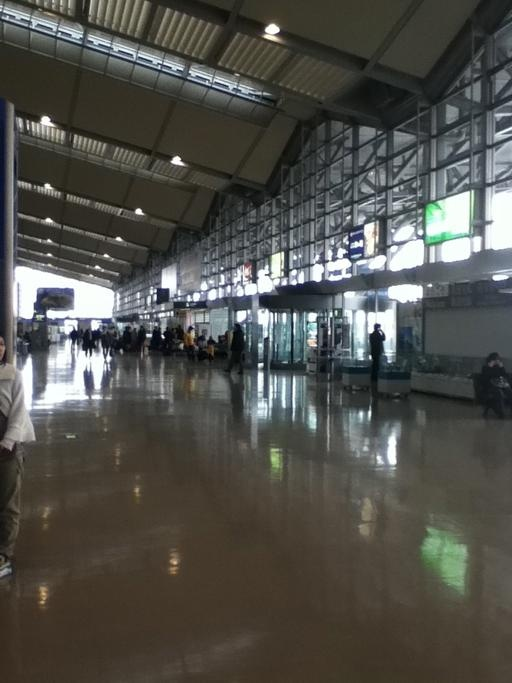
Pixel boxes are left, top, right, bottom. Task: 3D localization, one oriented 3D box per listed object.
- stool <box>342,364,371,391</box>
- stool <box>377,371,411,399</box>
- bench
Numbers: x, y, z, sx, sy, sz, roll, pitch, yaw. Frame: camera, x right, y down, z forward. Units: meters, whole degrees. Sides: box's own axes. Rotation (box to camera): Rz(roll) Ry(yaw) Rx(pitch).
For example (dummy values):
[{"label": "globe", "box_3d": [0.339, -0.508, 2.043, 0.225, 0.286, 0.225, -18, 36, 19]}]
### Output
[{"label": "stool", "box_3d": [2.782, 1.003, 14.977, 0.585, 0.779, 0.649, 1, -3, -20]}, {"label": "stool", "box_3d": [3.405, 1.077, 13.372, 0.559, 0.721, 0.628, 1, -3, -21]}, {"label": "bench", "box_3d": [4.610, 0.861, 13.226, 0.352, 0.804, 2.375, 1, 0, -20]}]
